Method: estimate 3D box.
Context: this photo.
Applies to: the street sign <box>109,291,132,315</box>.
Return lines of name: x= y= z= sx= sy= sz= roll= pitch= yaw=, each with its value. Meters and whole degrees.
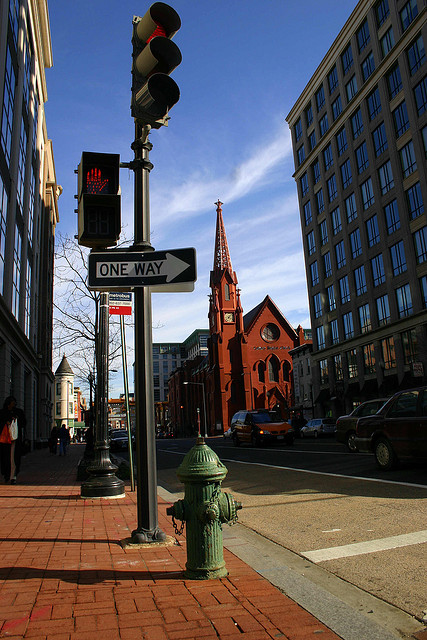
street sign: x=-1.811 y=-0.262 z=8.974 sx=0.426 sy=0.455 sz=0.423 roll=-1 pitch=-11 yaw=-15

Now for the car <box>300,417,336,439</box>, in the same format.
car: x=7.471 y=7.813 z=33.180 sx=1.187 sy=1.368 sz=3.622 roll=0 pitch=-11 yaw=-16

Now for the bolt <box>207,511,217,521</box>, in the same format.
bolt: x=-0.014 y=1.442 z=3.442 sx=0.052 sy=0.059 sz=0.018 roll=-1 pitch=-12 yaw=-23

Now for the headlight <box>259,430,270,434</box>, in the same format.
headlight: x=2.568 y=5.650 z=23.376 sx=0.473 sy=0.198 sz=0.137 roll=-5 pitch=-10 yaw=6

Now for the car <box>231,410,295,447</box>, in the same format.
car: x=2.549 y=5.877 z=25.289 sx=1.745 sy=1.795 sz=4.296 roll=1 pitch=-11 yaw=-22

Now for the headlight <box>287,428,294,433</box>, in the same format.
headlight: x=3.971 y=5.696 z=23.822 sx=0.128 sy=0.178 sz=0.816 roll=-8 pitch=-11 yaw=25

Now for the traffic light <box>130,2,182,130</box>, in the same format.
traffic light: x=-0.505 y=-2.215 z=3.934 sx=0.395 sy=1.339 sz=0.897 roll=-1 pitch=-10 yaw=-10

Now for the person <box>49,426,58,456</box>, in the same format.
person: x=-9.898 y=7.488 z=28.595 sx=0.471 sy=1.609 sz=1.472 roll=1 pitch=-11 yaw=-19

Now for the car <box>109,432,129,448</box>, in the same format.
car: x=-6.463 y=8.199 z=31.512 sx=1.102 sy=0.941 sz=3.074 roll=0 pitch=-11 yaw=-16

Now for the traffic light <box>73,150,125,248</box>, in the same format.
traffic light: x=-1.185 y=-1.216 z=4.760 sx=0.386 sy=0.847 sz=0.250 roll=-1 pitch=-8 yaw=-28

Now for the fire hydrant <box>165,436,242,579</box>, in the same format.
fire hydrant: x=-0.064 y=1.427 z=3.594 sx=0.542 sy=1.014 sz=0.321 roll=-2 pitch=-10 yaw=-7
